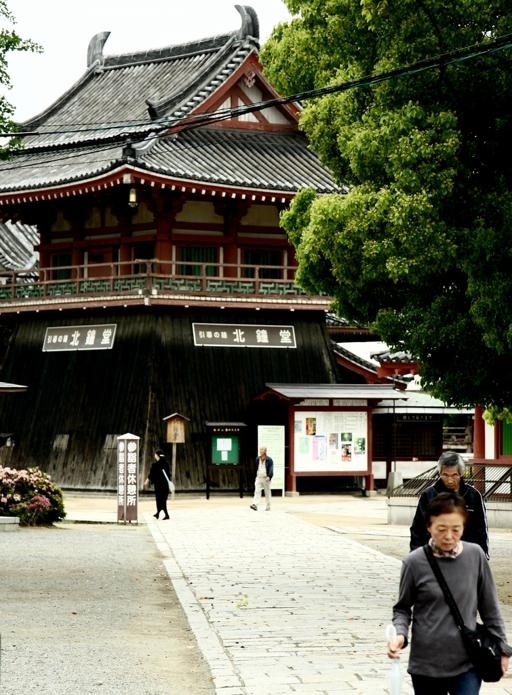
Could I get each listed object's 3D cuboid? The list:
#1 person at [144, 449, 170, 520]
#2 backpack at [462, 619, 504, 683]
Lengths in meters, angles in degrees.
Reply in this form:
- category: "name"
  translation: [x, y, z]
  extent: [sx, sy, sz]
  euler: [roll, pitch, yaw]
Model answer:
- category: "person"
  translation: [-2.409, 3.430, 20.708]
  extent: [0.551, 1.753, 1.480]
  euler: [1, -11, -6]
- category: "backpack"
  translation: [0.939, 1.251, 3.420]
  extent: [0.088, 0.258, 0.181]
  euler: [-24, 11, 14]
